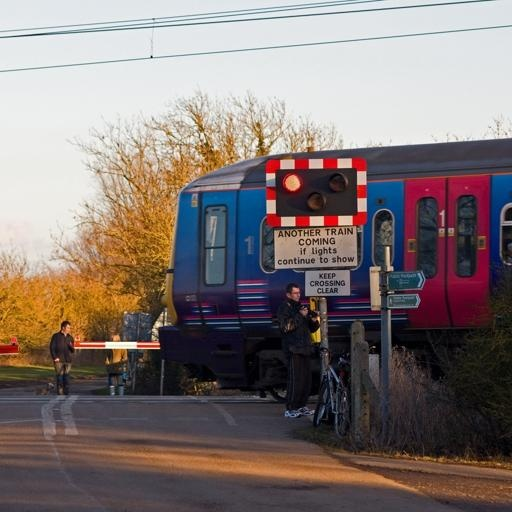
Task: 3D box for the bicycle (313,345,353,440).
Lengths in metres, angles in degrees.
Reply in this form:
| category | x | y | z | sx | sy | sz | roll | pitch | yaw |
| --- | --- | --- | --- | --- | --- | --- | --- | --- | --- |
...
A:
| category | x | y | z | sx | sy | sz | roll | pitch | yaw |
| --- | --- | --- | --- | --- | --- | --- | --- | --- | --- |
| bicycle | 0.890 | 1.604 | 11.515 | 0.363 | 0.494 | 0.782 | 8 | -2 | 3 |

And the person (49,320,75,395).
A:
| category | x | y | z | sx | sy | sz | roll | pitch | yaw |
| --- | --- | --- | --- | --- | --- | --- | --- | --- | --- |
| person | -3.962 | 2.067 | 20.715 | 0.467 | 1.494 | 0.873 | 2 | -7 | -11 |

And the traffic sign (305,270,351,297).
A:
| category | x | y | z | sx | sy | sz | roll | pitch | yaw |
| --- | --- | --- | --- | --- | --- | --- | --- | --- | --- |
| traffic sign | 0.865 | 0.316 | 12.120 | 0.515 | 0.303 | 0.257 | -1 | -8 | 11 |
